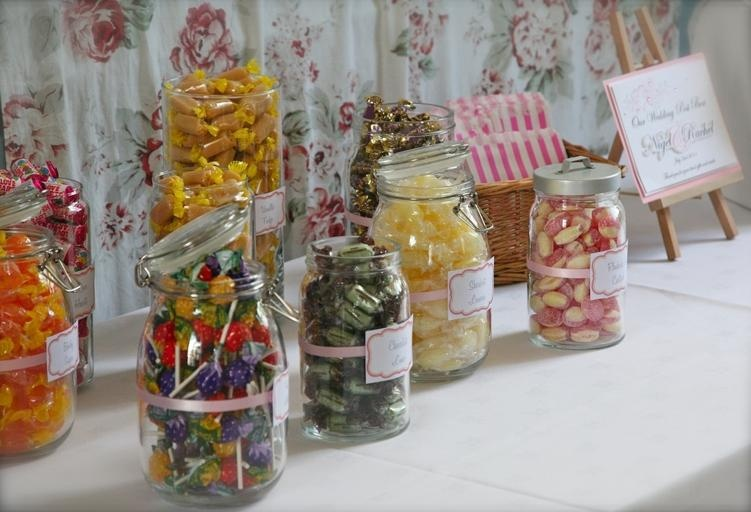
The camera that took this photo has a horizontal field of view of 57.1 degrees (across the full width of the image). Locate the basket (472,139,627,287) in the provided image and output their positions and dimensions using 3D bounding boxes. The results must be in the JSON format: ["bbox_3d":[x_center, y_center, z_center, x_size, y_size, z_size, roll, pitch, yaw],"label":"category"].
[{"bbox_3d":[0.408,-0.090,1.655,0.380,0.151,0.244,-11,15,-31],"label":"basket"}]

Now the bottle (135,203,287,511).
[{"bbox_3d":[-0.245,0.143,0.991,0.225,0.427,0.132,-7,11,-9],"label":"bottle"}]

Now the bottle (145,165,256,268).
[{"bbox_3d":[-0.305,-0.075,1.238,0.199,0.183,0.181,-2,8,-11],"label":"bottle"}]
